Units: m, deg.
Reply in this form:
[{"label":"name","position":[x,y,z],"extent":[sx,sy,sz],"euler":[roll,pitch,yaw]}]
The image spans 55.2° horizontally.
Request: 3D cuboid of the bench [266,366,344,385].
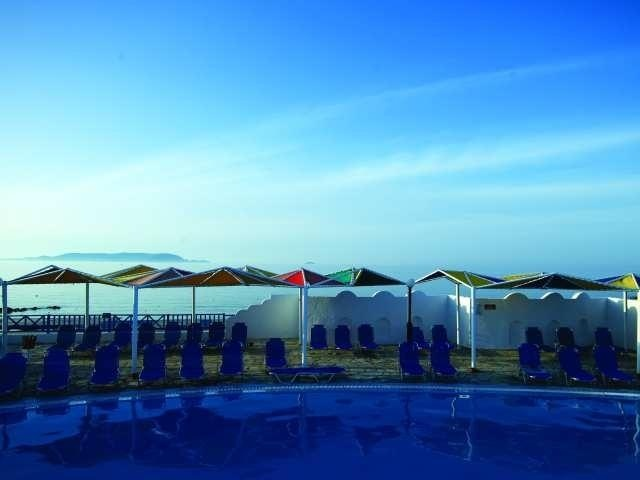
[{"label":"bench","position":[-0.433,3.817,17.631],"extent":[1.659,0.265,0.722],"euler":[1,-6,-6]}]
